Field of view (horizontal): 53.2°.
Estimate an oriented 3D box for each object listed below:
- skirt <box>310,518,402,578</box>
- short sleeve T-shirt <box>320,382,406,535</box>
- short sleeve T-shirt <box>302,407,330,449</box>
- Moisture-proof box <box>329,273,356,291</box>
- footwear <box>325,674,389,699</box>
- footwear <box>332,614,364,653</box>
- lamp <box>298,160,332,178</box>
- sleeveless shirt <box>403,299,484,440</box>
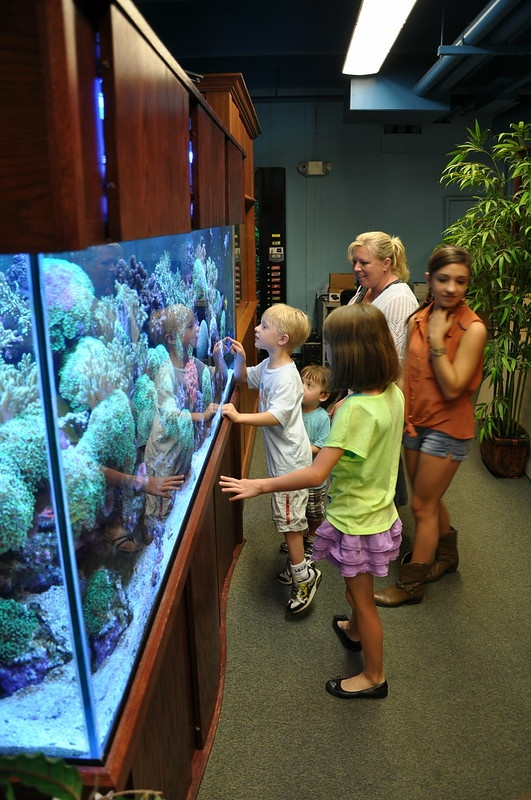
[{"bbox_3d":[0.304,0.465,1.789,0.187,0.150,0.245,-5,10,-31],"label":"skirt"},{"bbox_3d":[0.313,0.207,1.702,0.241,0.497,0.242,1,12,12],"label":"short sleeve T-shirt"},{"bbox_3d":[0.252,0.144,2.668,0.166,0.200,0.095,-6,-3,25],"label":"short sleeve T-shirt"},{"bbox_3d":[1.006,-1.543,6.973,0.324,0.251,0.363,0,15,4],"label":"Moisture-proof box"},{"bbox_3d":[0.337,1.086,1.980,0.220,0.080,0.092,3,20,7],"label":"footwear"},{"bbox_3d":[0.356,0.995,2.294,0.053,0.068,0.171,-3,20,-5],"label":"footwear"},{"bbox_3d":[0.675,-3.125,7.194,0.388,0.237,0.117,-3,6,-3],"label":"lamp"},{"bbox_3d":[0.786,-0.124,2.366,0.330,0.598,0.256,3,13,20],"label":"sleeveless shirt"}]
